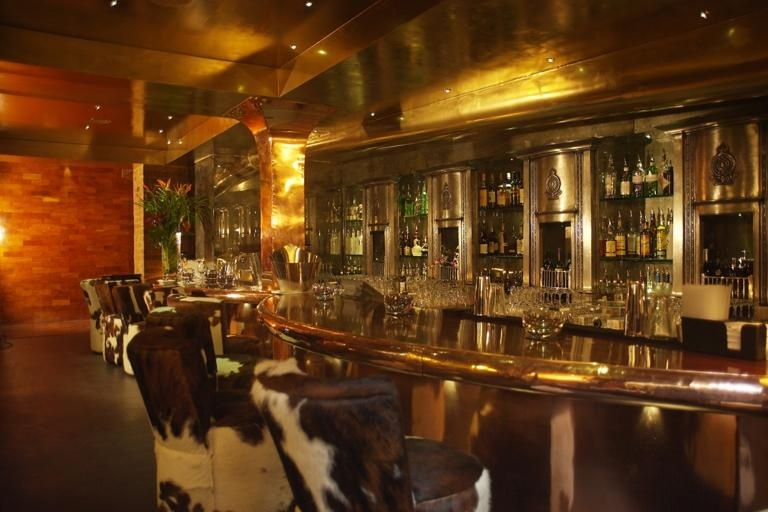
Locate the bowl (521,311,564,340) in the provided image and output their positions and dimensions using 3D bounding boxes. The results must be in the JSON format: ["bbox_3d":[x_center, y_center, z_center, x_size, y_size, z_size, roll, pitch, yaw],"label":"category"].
[{"bbox_3d":[0.874,0.378,3.215,0.177,0.120,0.178,0,-4,0],"label":"bowl"}]

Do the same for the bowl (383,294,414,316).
[{"bbox_3d":[0.109,0.333,3.910,0.162,0.099,0.143,1,-3,-10],"label":"bowl"}]

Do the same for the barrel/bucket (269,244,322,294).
[{"bbox_3d":[-0.833,0.110,5.286,0.458,0.355,0.496,3,10,0],"label":"barrel/bucket"}]
